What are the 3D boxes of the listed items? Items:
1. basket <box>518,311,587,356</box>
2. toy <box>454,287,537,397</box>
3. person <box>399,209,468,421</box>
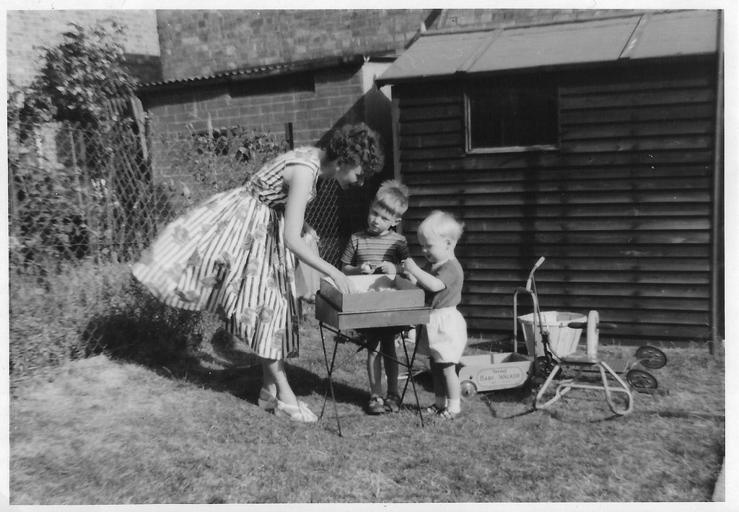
[{"bbox_3d":[1.657,0.711,5.638,0.476,0.335,0.511,-2,2,2],"label":"basket"},{"bbox_3d":[1.131,0.610,5.538,0.895,1.228,0.758,-2,1,9],"label":"toy"},{"bbox_3d":[0.555,0.485,4.977,0.512,1.678,0.432,5,6,8],"label":"person"}]
